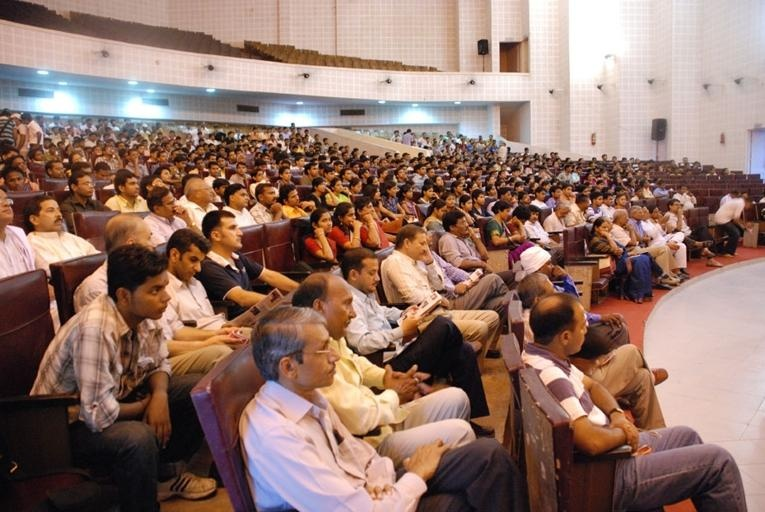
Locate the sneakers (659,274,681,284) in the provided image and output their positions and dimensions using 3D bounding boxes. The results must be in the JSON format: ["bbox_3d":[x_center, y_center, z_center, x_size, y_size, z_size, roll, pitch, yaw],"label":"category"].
[{"bbox_3d":[3.833,0.273,7.049,0.278,0.128,0.163,3,13,17],"label":"sneakers"}]

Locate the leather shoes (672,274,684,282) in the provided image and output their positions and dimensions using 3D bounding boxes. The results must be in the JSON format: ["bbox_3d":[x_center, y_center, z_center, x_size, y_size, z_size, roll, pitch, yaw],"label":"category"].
[{"bbox_3d":[4.046,0.301,7.238,0.273,0.115,0.107,-4,6,-43],"label":"leather shoes"}]

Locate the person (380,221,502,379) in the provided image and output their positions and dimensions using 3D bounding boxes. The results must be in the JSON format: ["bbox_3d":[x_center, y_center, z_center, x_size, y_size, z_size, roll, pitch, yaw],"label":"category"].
[{"bbox_3d":[0.435,0.389,4.024,0.812,1.182,0.518,2,2,19],"label":"person"}]

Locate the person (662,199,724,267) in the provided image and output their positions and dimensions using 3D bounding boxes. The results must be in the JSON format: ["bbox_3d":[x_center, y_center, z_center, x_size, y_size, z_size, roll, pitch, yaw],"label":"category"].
[{"bbox_3d":[5.144,-0.354,8.775,1.063,1.407,0.612,5,33,35],"label":"person"}]

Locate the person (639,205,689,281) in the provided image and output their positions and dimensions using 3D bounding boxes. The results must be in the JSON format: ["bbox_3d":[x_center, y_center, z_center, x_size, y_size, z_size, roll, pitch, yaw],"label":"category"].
[{"bbox_3d":[4.061,-0.234,7.654,0.420,0.933,0.519,-16,9,-25],"label":"person"}]

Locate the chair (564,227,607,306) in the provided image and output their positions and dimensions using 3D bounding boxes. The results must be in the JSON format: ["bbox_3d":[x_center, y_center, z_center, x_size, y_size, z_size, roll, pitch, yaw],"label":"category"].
[{"bbox_3d":[2.234,0.111,5.825,0.398,0.877,0.867,-1,2,20],"label":"chair"}]

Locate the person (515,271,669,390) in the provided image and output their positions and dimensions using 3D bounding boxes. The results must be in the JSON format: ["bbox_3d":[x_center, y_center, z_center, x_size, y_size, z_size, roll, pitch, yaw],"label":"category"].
[{"bbox_3d":[1.549,0.443,3.656,0.727,0.908,0.358,0,20,41],"label":"person"}]

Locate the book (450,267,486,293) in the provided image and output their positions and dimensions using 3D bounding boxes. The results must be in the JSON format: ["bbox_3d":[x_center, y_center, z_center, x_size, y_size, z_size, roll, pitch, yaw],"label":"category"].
[{"bbox_3d":[0.686,0.167,4.248,0.204,0.067,0.204,-34,-7,-25],"label":"book"}]

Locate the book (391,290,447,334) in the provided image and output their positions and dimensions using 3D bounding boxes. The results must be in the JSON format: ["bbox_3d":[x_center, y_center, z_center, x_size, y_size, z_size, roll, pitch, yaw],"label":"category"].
[{"bbox_3d":[0.222,0.359,3.272,0.234,0.057,0.235,-38,2,-5],"label":"book"}]

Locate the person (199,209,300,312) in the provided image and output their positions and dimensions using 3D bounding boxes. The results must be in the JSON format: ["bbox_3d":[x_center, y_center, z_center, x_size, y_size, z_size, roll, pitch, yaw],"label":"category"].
[{"bbox_3d":[-0.947,0.124,3.704,0.714,0.835,0.669,2,13,-12],"label":"person"}]

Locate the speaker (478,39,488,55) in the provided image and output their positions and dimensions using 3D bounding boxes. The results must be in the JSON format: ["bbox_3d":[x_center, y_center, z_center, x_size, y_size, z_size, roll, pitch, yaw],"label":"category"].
[{"bbox_3d":[4.093,-8.622,21.700,0.465,0.597,0.405,2,8,3],"label":"speaker"}]

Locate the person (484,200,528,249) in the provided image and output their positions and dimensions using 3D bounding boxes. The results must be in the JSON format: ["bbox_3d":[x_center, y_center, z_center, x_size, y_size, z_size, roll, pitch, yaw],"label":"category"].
[{"bbox_3d":[1.517,-0.360,6.624,0.563,0.849,0.645,2,10,20],"label":"person"}]

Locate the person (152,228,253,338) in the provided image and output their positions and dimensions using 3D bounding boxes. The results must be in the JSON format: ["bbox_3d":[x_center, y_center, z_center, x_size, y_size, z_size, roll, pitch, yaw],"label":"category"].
[{"bbox_3d":[-1.090,0.223,3.227,0.517,0.760,0.507,5,8,12],"label":"person"}]

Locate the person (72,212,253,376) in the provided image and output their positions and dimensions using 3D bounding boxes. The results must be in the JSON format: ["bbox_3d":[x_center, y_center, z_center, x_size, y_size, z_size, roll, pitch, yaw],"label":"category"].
[{"bbox_3d":[-1.214,0.135,3.221,0.901,1.135,0.787,-2,7,-2],"label":"person"}]

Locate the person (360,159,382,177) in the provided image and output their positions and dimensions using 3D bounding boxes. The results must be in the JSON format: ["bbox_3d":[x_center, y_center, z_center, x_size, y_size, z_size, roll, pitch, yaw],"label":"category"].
[{"bbox_3d":[-0.282,-1.878,11.290,0.591,0.342,0.801,2,8,-5],"label":"person"}]

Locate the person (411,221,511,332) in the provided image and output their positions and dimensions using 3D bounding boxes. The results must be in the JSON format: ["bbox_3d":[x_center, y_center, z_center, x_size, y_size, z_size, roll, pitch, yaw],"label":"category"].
[{"bbox_3d":[0.634,0.181,4.398,0.609,1.100,0.447,-26,17,10],"label":"person"}]

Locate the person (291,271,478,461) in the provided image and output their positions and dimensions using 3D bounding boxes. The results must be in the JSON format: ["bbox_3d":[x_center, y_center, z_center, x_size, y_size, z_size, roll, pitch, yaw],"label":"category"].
[{"bbox_3d":[0.181,0.449,3.357,0.704,1.227,0.491,-22,21,14],"label":"person"}]

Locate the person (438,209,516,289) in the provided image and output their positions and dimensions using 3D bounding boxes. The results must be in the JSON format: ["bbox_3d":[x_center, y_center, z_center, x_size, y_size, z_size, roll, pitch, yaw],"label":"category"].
[{"bbox_3d":[0.960,-0.006,5.163,0.719,0.929,0.553,-4,3,30],"label":"person"}]

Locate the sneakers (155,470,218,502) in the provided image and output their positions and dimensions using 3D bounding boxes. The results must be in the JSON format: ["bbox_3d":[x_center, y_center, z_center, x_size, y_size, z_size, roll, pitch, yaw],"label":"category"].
[{"bbox_3d":[-0.965,1.139,2.593,0.252,0.125,0.121,-3,-4,-4],"label":"sneakers"}]
